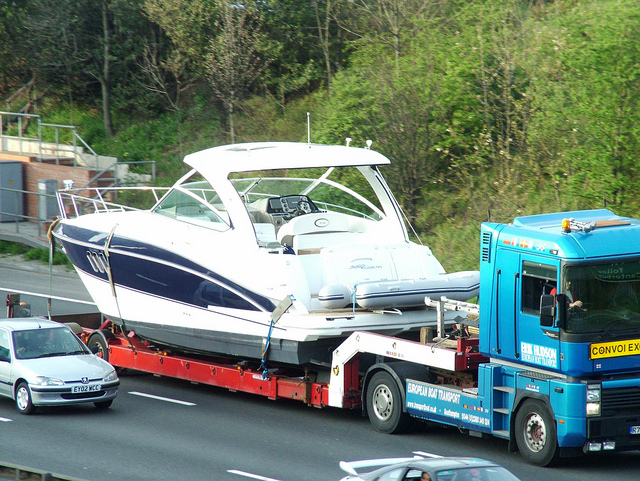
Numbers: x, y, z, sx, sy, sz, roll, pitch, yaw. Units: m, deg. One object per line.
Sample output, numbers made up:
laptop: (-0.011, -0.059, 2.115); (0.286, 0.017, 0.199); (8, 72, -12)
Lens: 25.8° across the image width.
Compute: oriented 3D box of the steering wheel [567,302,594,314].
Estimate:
steering wheel: (5.319, 1.343, 28.213); (0.416, 0.068, 0.240); (-10, -2, 2)

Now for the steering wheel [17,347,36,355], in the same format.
steering wheel: (-6.751, 2.522, 31.969); (0.244, 0.148, 0.051); (4, -9, -5)

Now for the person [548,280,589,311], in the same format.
person: (5.134, 1.179, 28.189); (0.324, 0.718, 0.602); (35, -40, -14)
